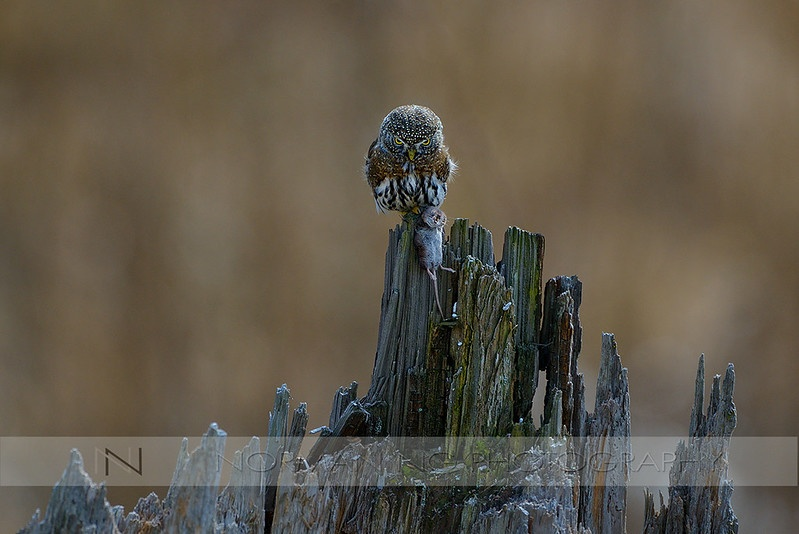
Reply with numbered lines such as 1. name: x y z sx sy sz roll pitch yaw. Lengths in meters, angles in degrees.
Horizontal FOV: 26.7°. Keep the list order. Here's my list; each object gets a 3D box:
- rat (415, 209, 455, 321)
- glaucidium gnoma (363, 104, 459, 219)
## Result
1. rat: 0.260 -0.025 13.747 0.298 0.925 0.314 -5 10 -40
2. glaucidium gnoma: 0.101 -0.889 14.126 0.764 0.933 0.539 4 -10 -2
